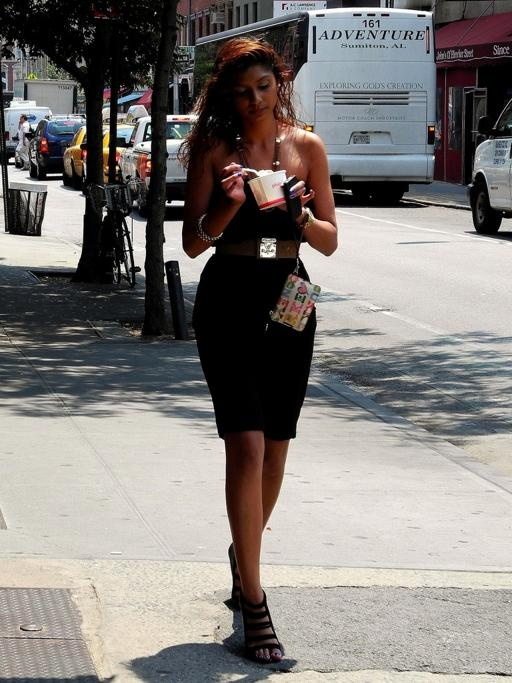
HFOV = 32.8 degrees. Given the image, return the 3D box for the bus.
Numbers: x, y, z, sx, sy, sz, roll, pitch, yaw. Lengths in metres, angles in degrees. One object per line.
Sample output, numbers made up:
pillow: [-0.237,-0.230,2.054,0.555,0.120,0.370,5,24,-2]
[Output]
bus: [3.524,-7.185,26.718,5.446,4.789,11.920,-1,9,-11]

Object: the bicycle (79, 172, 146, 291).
bicycle: [-2.034,-1.548,12.492,1.046,1.372,1.035,-5,13,-25]

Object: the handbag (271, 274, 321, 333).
handbag: [0.094,-0.108,2.363,0.148,0.144,0.126,-5,15,-28]

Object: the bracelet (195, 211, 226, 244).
bracelet: [-0.129,-0.301,2.324,0.071,0.076,0.026,25,56,17]

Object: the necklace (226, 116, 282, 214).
necklace: [0.011,-0.464,2.315,0.145,0.237,0.297,4,5,-2]

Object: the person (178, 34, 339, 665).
person: [-0.014,-0.011,2.349,0.469,1.626,0.652,1,6,13]

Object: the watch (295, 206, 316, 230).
watch: [0.123,-0.330,2.334,0.026,0.055,0.047,38,23,28]
